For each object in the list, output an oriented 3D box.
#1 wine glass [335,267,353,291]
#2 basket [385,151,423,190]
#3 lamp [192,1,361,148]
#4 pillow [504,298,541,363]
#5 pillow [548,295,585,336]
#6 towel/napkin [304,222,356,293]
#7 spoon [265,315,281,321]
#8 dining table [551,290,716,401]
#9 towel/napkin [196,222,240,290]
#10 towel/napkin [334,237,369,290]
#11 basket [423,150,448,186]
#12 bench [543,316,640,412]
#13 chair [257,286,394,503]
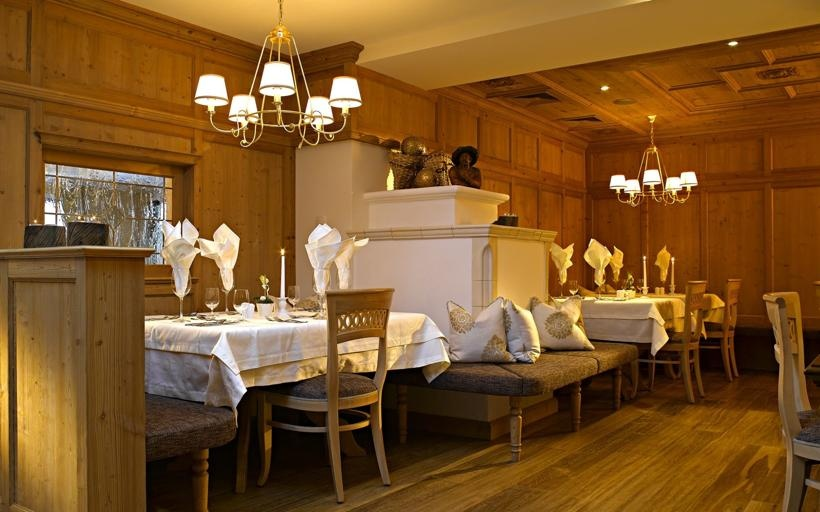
[{"bbox_3d":[-0.517,0.190,4.829,0.171,0.173,0.168,-1,-5,-13],"label":"wine glass"},{"bbox_3d":[-0.075,-0.873,6.372,0.377,0.431,0.399,-1,1,-39],"label":"basket"},{"bbox_3d":[-1.398,-1.926,6.160,1.278,1.526,1.494,-4,-7,38],"label":"lamp"},{"bbox_3d":[0.982,0.680,5.227,0.287,0.530,0.500,-9,-2,-3],"label":"pillow"},{"bbox_3d":[1.490,0.581,5.819,0.114,0.343,0.366,-18,-18,37],"label":"pillow"},{"bbox_3d":[-0.640,0.100,4.710,0.321,0.481,0.399,-7,-22,19],"label":"towel/napkin"},{"bbox_3d":[-1.032,0.473,4.472,0.057,0.023,0.070,-2,0,21],"label":"spoon"},{"bbox_3d":[2.640,0.791,6.762,1.405,0.765,1.625,-1,-2,33],"label":"dining table"},{"bbox_3d":[-1.505,0.022,4.699,0.285,0.541,0.530,-1,4,-18],"label":"towel/napkin"},{"bbox_3d":[-0.467,0.063,4.778,0.372,0.366,0.373,2,2,33],"label":"towel/napkin"},{"bbox_3d":[0.283,-0.896,6.166,0.270,0.361,0.317,0,4,-2],"label":"basket"},{"bbox_3d":[1.787,1.048,6.146,0.903,0.684,1.441,-3,-4,35],"label":"bench"},{"bbox_3d":[-0.580,0.977,4.432,0.892,1.347,0.879,-3,-5,30],"label":"chair"}]
